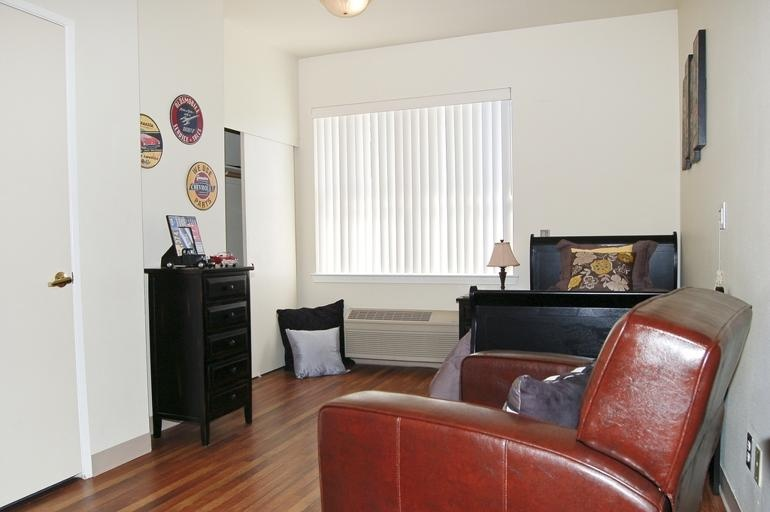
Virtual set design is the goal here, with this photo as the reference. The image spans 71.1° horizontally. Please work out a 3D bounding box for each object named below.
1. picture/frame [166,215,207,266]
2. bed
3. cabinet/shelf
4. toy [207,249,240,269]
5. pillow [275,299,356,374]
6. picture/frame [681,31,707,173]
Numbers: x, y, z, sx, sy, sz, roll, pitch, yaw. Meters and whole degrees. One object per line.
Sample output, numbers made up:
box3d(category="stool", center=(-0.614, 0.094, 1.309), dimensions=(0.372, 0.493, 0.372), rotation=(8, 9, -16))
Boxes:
box3d(category="picture/frame", center=(-1.523, -0.113, 4.086), dimensions=(0.052, 0.498, 0.394), rotation=(-22, -12, 19))
box3d(category="bed", center=(1.477, 0.252, 4.174), dimensions=(1.061, 1.214, 1.754), rotation=(-2, -6, 27))
box3d(category="cabinet/shelf", center=(-1.343, 0.704, 4.010), dimensions=(0.790, 1.266, 0.453), rotation=(-5, 7, -25))
box3d(category="toy", center=(-1.295, 0.028, 4.181), dimensions=(0.207, 0.100, 0.141), rotation=(-1, 0, 32))
box3d(category="pillow", center=(-0.750, 0.887, 5.709), dimensions=(0.673, 0.651, 0.241), rotation=(-4, -29, -17))
box3d(category="picture/frame", center=(2.392, -1.166, 4.153), dimensions=(0.074, 0.946, 1.064), rotation=(1, 6, 24))
